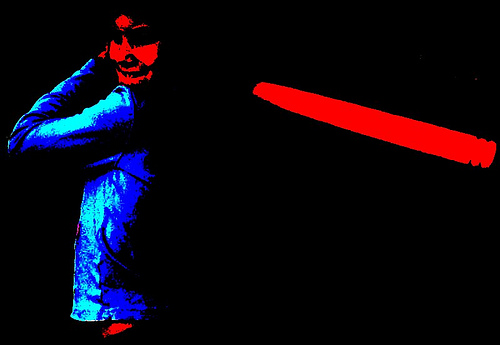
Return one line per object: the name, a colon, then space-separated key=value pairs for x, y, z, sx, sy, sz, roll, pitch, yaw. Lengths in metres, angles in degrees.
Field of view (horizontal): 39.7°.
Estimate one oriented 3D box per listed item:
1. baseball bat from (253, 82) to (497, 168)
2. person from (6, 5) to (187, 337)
baseball bat: x=0.812 y=-0.296 z=4.348 sx=1.475 sy=0.194 sz=0.160 roll=16 pitch=10 yaw=0
person: x=-0.878 y=0.043 z=4.303 sx=0.822 sy=1.802 sz=1.222 roll=-2 pitch=34 yaw=1
